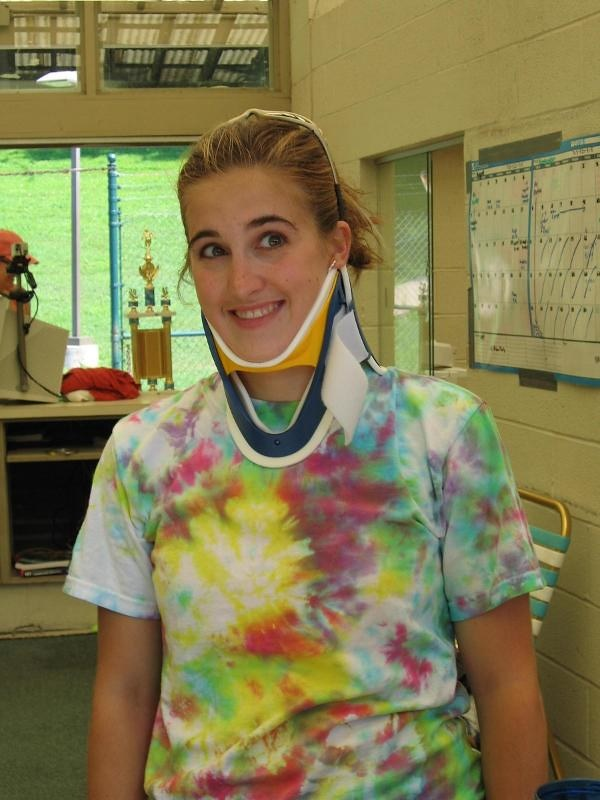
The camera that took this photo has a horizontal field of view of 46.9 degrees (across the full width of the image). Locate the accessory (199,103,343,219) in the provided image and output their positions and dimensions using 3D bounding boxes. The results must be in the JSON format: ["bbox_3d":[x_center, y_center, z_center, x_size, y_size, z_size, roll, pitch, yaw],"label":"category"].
[{"bbox_3d":[0.000,-0.243,0.692,0.115,0.108,0.034,1,10,27],"label":"accessory"}]

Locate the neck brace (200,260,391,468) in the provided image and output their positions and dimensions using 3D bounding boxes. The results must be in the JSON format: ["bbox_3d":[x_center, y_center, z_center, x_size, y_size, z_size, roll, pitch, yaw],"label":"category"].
[{"bbox_3d":[-0.007,-0.016,0.726,0.166,0.191,0.151,-14,-7,5],"label":"neck brace"}]
